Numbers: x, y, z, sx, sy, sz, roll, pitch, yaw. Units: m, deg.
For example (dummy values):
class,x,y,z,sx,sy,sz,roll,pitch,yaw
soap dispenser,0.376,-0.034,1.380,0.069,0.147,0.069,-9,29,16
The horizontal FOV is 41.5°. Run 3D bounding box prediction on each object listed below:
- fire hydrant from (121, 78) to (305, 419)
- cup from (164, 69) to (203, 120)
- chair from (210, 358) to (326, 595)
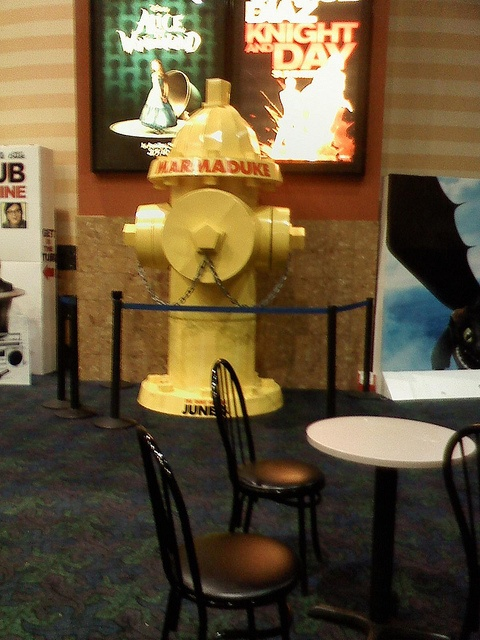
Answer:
class,x,y,z,sx,sy,sz,roll,pitch,yaw
fire hydrant,-0.173,-0.481,4.223,1.117,2.225,0.571,1,8,-7
cup,-0.454,-1.722,4.836,0.319,0.309,0.260,10,24,41
chair,0.111,0.540,2.267,0.414,0.732,0.325,5,10,15
